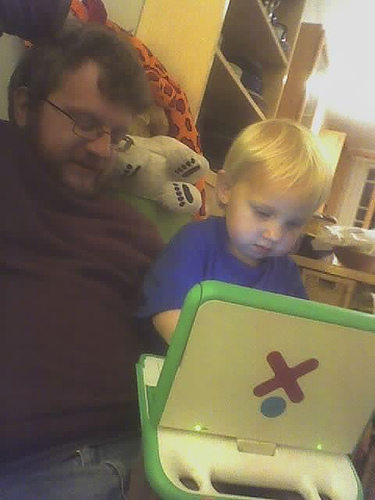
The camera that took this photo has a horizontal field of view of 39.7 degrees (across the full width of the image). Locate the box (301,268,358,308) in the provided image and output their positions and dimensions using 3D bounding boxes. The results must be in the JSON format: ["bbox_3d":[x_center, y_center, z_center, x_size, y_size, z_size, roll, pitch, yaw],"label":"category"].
[{"bbox_3d":[0.457,0.118,1.638,0.144,0.073,0.096,12,-21,-3],"label":"box"}]

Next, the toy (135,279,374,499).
[{"bbox_3d":[0.059,0.155,0.695,0.273,0.201,0.259,9,14,-14],"label":"toy"}]

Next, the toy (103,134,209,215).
[{"bbox_3d":[-0.088,-0.174,1.013,0.199,0.123,0.317,17,11,-16],"label":"toy"}]

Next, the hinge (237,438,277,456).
[{"bbox_3d":[0.077,0.226,0.595,0.044,0.020,0.010,11,-5,-6],"label":"hinge"}]
